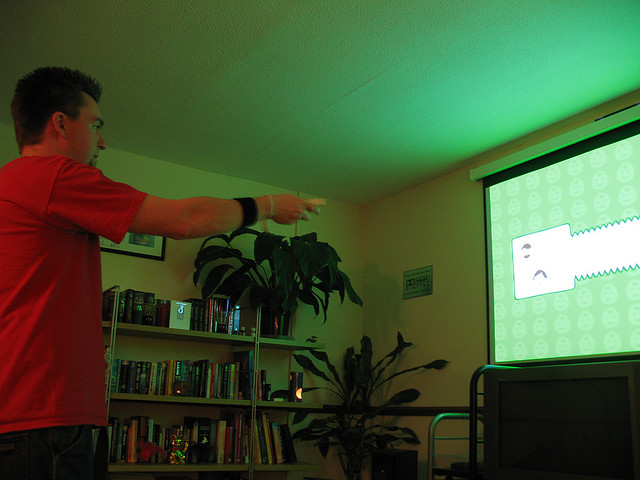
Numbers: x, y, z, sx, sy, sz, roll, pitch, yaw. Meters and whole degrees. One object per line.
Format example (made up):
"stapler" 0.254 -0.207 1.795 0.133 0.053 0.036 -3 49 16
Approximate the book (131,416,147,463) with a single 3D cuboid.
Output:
"book" -1.171 1.294 3.347 0.125 0.186 0.215 4 -17 -20

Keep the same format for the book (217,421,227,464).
"book" -0.681 1.398 3.578 0.084 0.226 0.248 2 -12 -14

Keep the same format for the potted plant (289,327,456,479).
"potted plant" 0.373 1.323 4.447 1.463 1.308 1.207 0 -6 7

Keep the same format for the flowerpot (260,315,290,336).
"flowerpot" -0.347 0.654 4.010 0.221 0.153 0.104 1 -17 -10

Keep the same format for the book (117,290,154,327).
"book" -1.290 0.461 3.582 0.195 0.225 0.252 10 -9 -28

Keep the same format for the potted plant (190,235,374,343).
"potted plant" -0.363 0.364 4.374 1.428 0.737 1.326 5 14 -7

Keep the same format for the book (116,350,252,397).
"book" -1.001 0.984 3.701 1.106 0.364 0.340 15 -31 -38

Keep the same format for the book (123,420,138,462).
"book" -1.212 1.287 3.317 0.123 0.196 0.219 -1 -9 -23

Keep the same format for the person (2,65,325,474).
"person" -0.543 0.048 1.401 0.567 1.123 0.395 -9 -18 21
